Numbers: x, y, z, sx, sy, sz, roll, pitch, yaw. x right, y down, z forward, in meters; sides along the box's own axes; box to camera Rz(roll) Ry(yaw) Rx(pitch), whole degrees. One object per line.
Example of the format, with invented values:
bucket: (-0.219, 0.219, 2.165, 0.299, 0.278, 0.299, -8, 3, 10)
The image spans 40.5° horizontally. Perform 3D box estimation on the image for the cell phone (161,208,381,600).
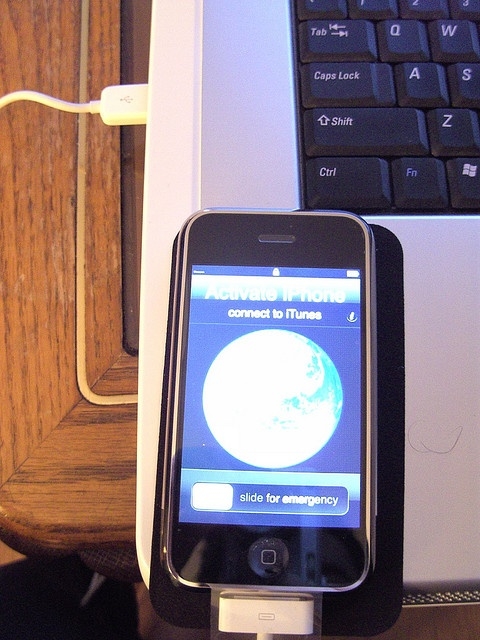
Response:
cell phone: (0.018, 0.041, 0.366, 0.114, 0.033, 0.208, 2, 74, -1)
